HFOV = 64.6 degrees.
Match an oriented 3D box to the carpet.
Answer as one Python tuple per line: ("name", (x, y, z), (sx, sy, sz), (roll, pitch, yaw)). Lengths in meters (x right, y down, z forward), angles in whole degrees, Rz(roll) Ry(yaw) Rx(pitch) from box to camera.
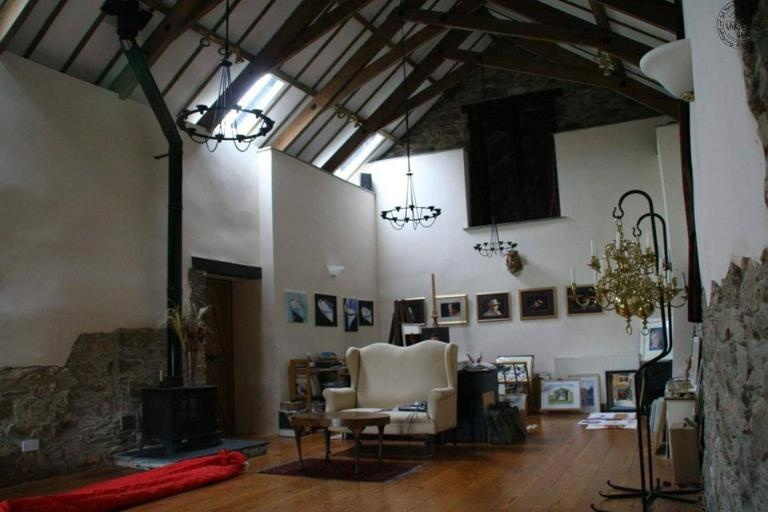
("carpet", (-0.521, 2.763, 7.823), (1.865, 0.150, 0.957), (-6, -12, 19))

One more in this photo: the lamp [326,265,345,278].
("lamp", (-1.003, 0.331, 12.190), (0.215, 0.215, 0.270), (-5, -11, 18))

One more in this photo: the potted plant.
("potted plant", (-2.897, 1.332, 9.227), (0.476, 1.262, 1.268), (-2, -10, 7))

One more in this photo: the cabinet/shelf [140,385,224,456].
("cabinet/shelf", (-2.817, 2.287, 8.721), (0.775, 1.145, 1.136), (-13, -15, 34))

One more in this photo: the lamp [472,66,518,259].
("lamp", (2.271, -2.068, 13.201), (0.822, 4.325, 0.395), (-8, -11, 38))

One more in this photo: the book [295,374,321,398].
("book", (-1.296, 2.287, 10.629), (0.285, 0.443, 0.527), (-7, -11, 30))

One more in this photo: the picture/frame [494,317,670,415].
("picture/frame", (4.083, 2.028, 11.540), (2.505, 1.833, 1.049), (-8, -11, 31))

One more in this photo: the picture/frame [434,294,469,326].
("picture/frame", (1.455, 1.185, 12.986), (0.602, 0.639, 0.088), (-1, -7, 18))

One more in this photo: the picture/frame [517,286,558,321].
("picture/frame", (3.157, 1.002, 12.423), (0.620, 0.613, 0.045), (-3, -5, 24))

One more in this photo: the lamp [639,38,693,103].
("lamp", (2.503, -1.703, 5.382), (0.404, 0.649, 0.539), (-7, -11, 31))

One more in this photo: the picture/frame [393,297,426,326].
("picture/frame", (0.557, 1.246, 13.240), (0.523, 0.499, 0.199), (-2, -9, 13))

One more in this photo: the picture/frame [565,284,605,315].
("picture/frame", (3.358, 0.762, 10.188), (0.692, 0.685, 0.079), (-1, -8, 9))
